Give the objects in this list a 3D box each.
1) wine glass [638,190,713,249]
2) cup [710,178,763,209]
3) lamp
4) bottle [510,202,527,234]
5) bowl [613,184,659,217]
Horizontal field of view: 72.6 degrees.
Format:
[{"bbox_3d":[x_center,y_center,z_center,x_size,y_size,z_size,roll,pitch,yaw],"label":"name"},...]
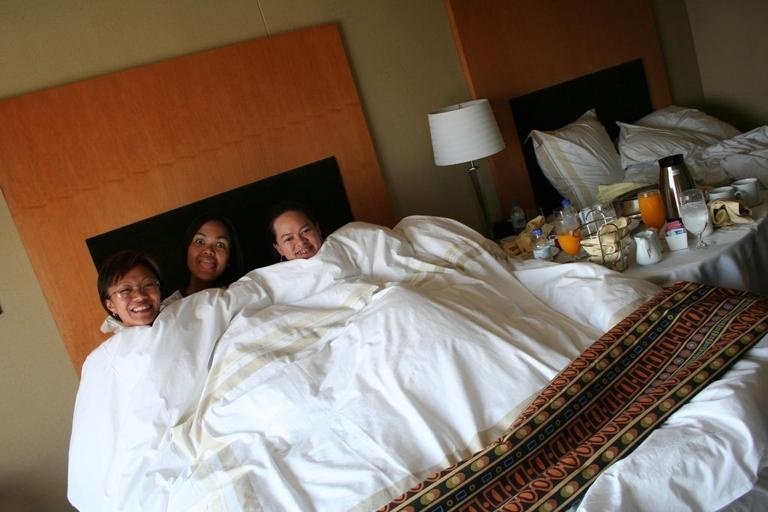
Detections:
[{"bbox_3d":[1.422,-0.196,2.568,0.314,0.278,0.242,-3,19,32],"label":"wine glass"},{"bbox_3d":[1.808,-0.315,2.675,0.212,0.106,0.115,-28,10,15],"label":"cup"},{"bbox_3d":[0.578,-0.540,3.479,0.454,0.911,0.428,-11,16,8],"label":"lamp"},{"bbox_3d":[0.869,-0.261,3.412,0.090,0.200,0.115,-9,17,14],"label":"bottle"},{"bbox_3d":[1.418,-0.276,2.873,0.189,0.113,0.191,-17,2,1],"label":"bowl"}]
